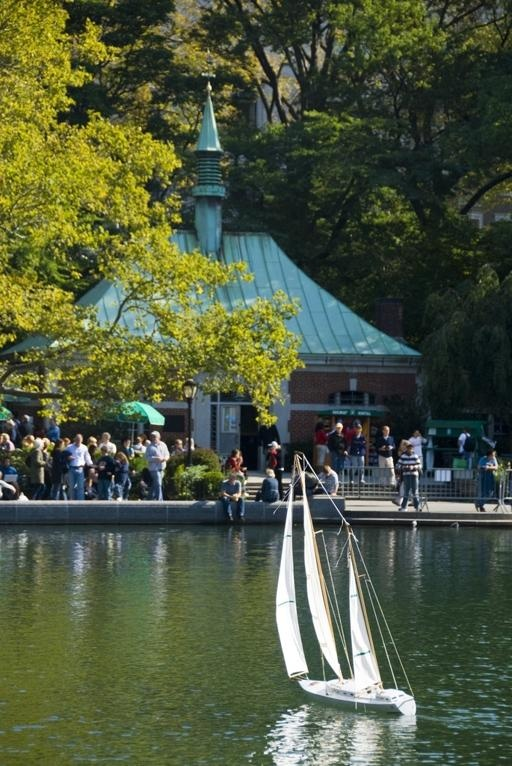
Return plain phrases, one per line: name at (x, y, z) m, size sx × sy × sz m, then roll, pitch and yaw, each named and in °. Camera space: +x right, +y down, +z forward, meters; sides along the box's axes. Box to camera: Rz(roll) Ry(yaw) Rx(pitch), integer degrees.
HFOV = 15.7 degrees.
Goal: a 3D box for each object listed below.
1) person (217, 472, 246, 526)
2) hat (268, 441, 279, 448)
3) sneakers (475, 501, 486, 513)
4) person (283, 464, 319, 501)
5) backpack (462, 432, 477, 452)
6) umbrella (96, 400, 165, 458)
person at (-0.497, 2.563, 40.755) m, size 0.523 × 1.150 × 0.561 m, roll 3°, pitch 8°, yaw -1°
hat at (0.422, 1.426, 43.210) m, size 0.117 × 0.118 × 0.199 m, roll 1°, pitch -9°, yaw 25°
sneakers at (5.072, 2.821, 41.905) m, size 0.177 × 0.211 × 0.348 m, roll -3°, pitch -6°, yaw 13°
person at (1.117, 2.174, 41.256) m, size 0.850 × 1.051 × 0.363 m, roll 5°, pitch 5°, yaw 5°
backpack at (5.249, 1.479, 45.563) m, size 0.398 × 0.667 × 0.314 m, roll 1°, pitch -5°, yaw 7°
umbrella at (-3.152, 1.138, 46.906) m, size 1.058 × 0.821 × 1.083 m, roll 6°, pitch -9°, yaw -19°
